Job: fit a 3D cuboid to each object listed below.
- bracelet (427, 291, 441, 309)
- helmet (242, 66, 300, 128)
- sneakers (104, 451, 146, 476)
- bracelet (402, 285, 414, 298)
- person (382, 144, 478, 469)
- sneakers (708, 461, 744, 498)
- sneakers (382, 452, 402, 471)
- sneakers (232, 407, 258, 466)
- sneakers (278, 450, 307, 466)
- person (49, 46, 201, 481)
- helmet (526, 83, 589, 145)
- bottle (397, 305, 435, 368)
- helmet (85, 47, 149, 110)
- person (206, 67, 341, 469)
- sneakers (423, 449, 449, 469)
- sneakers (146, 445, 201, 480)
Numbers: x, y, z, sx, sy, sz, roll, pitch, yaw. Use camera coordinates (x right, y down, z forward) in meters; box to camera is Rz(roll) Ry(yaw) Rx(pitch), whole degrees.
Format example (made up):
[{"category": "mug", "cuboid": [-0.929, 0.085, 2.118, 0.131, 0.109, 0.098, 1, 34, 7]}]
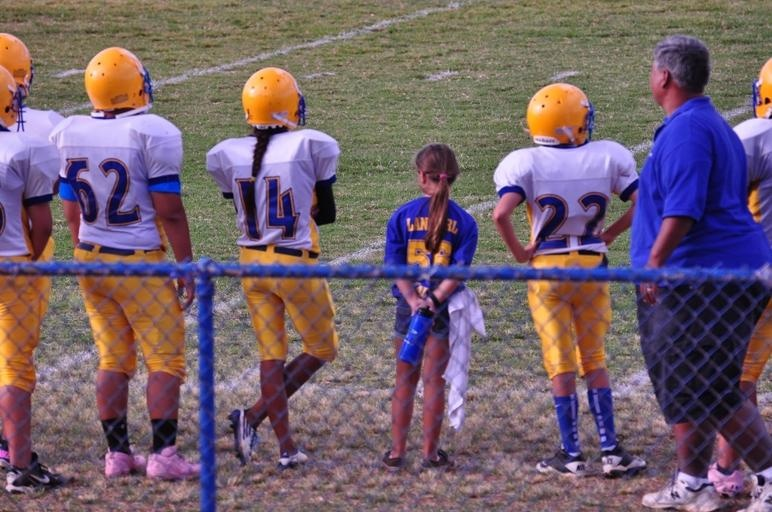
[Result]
[{"category": "bracelet", "cuboid": [0.358, 0.318, 9.426, 0.062, 0.116, 0.084, -31, 13, -3]}, {"category": "helmet", "cuboid": [-0.911, -1.227, 9.810, 0.496, 0.459, 0.592, 9, 15, 39]}, {"category": "sneakers", "cuboid": [-1.963, 1.546, 9.490, 0.297, 0.131, 0.154, -4, 8, -36]}, {"category": "bracelet", "cuboid": [0.159, 0.255, 9.443, 0.090, 0.066, 0.089, 0, 0, -5]}, {"category": "person", "cuboid": [0.323, 0.357, 9.586, 0.690, 2.309, 0.955, 1, 17, 2]}, {"category": "sneakers", "cuboid": [2.502, 1.655, 9.278, 0.283, 0.187, 0.120, 2, -10, 2]}, {"category": "sneakers", "cuboid": [0.033, 1.539, 9.545, 0.166, 0.092, 0.104, 15, 23, 38]}, {"category": "sneakers", "cuboid": [-1.057, 1.356, 9.669, 0.278, 0.604, 0.215, 1, 50, -6]}, {"category": "sneakers", "cuboid": [-0.698, 1.512, 9.572, 0.234, 0.103, 0.090, -15, 28, -25]}, {"category": "person", "cuboid": [-1.932, 0.030, 9.468, 0.933, 3.043, 1.334, -5, 18, -18]}, {"category": "helmet", "cuboid": [1.319, -1.111, 9.741, 0.496, 0.462, 0.623, 5, 14, 35]}, {"category": "bottle", "cuboid": [0.221, 0.592, 9.478, 0.239, 0.439, 0.093, -6, 19, -21]}, {"category": "helmet", "cuboid": [-2.056, -1.356, 9.630, 0.435, 0.494, 0.613, 4, 16, 19]}, {"category": "person", "cuboid": [-0.836, 0.077, 9.566, 0.969, 2.841, 1.108, -2, 18, -8]}, {"category": "sneakers", "cuboid": [0.386, 1.542, 9.537, 0.186, 0.178, 0.108, 10, -12, -41]}, {"category": "sneakers", "cuboid": [-1.604, 1.568, 9.489, 0.469, 0.234, 0.167, 11, -16, -43]}]
